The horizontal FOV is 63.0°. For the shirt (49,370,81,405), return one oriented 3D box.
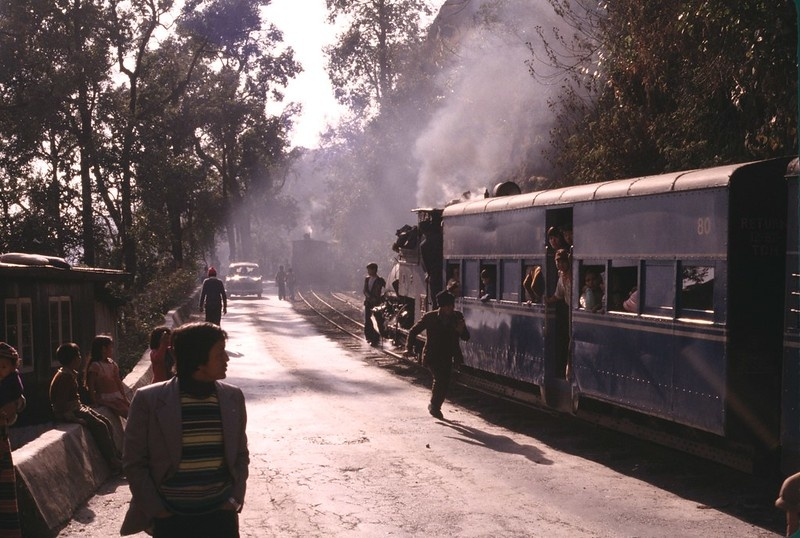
[{"bbox_3d":[-4.553,1.524,8.858,0.366,0.646,0.653,-5,7,-29],"label":"shirt"}]

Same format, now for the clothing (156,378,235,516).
[{"bbox_3d":[-1.721,1.415,5.111,0.564,0.971,0.633,0,-7,-9],"label":"clothing"}]

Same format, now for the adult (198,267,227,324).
[{"bbox_3d":[-5.788,0.879,20.108,0.783,2.190,0.504,3,31,-15],"label":"adult"}]

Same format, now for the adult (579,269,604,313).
[{"bbox_3d":[3.090,0.311,10.319,0.342,0.679,0.416,-11,20,-31],"label":"adult"}]

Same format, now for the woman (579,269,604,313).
[{"bbox_3d":[3.096,0.316,10.315,0.329,0.677,0.438,-8,22,-20],"label":"woman"}]

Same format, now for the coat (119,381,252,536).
[{"bbox_3d":[-1.679,1.436,5.034,0.906,1.173,0.348,0,2,-22],"label":"coat"}]
